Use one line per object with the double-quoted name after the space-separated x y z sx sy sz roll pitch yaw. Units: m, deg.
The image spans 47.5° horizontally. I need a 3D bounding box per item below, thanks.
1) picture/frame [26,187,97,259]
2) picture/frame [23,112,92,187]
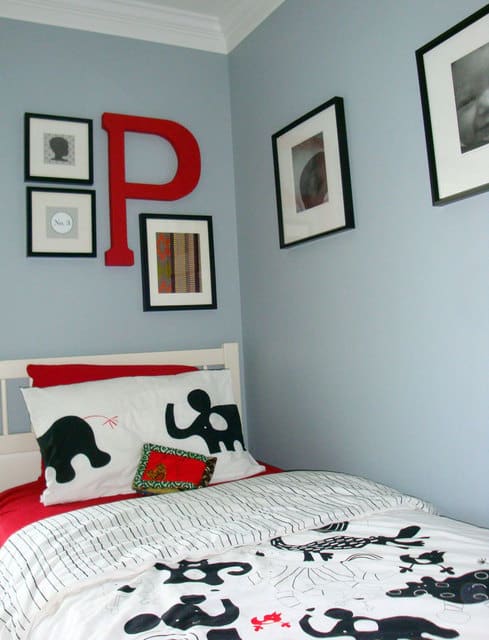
-0.717 -0.369 2.125 0.317 0.289 0.021 0 -3 -29 "picture/frame"
-0.736 -0.653 2.141 0.336 0.328 0.024 -2 1 -29 "picture/frame"
